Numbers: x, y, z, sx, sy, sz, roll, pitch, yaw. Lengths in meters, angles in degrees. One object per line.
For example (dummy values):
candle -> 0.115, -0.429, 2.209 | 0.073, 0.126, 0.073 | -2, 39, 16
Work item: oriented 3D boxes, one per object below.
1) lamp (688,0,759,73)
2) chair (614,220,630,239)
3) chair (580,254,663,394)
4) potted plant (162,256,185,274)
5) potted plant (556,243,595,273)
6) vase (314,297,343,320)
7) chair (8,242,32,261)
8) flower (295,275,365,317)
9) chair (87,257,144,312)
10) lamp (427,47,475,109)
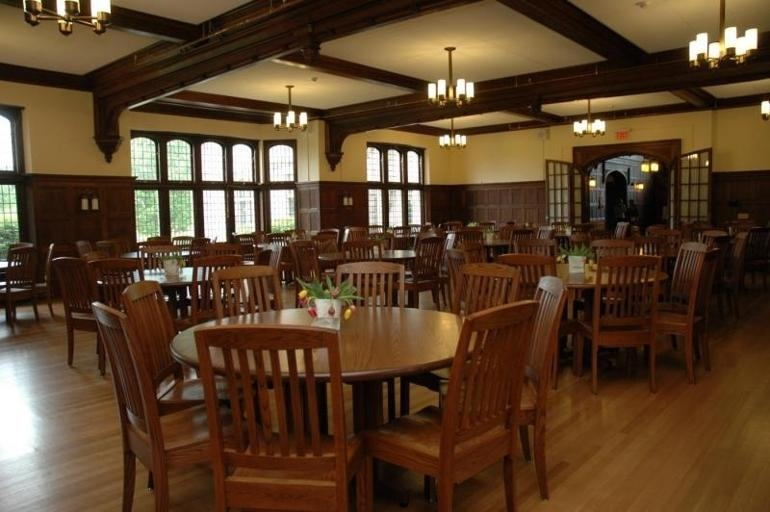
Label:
lamp -> 4.402, -2.915, 7.436 | 0.675, 1.023, 1.848 | 1, 6, 27
chair -> 4.820, -0.506, 11.548 | 0.233, 0.332, 0.887 | 0, 5, 21
chair -> 2.459, 0.646, 5.981 | 0.808, 1.375, 1.155 | 1, 6, 27
potted plant -> -2.573, 0.105, 6.844 | 0.223, 0.172, 0.215 | -3, 6, -41
potted plant -> 2.203, 0.031, 6.468 | 0.461, 0.336, 0.473 | -1, 2, 18
vase -> -0.448, 0.406, 4.308 | 0.175, 0.110, 0.159 | -1, -3, 6
chair -> -5.631, -0.059, 8.682 | 0.290, 0.409, 0.312 | 9, 7, 41
flower -> -0.501, 0.346, 4.437 | 0.425, 0.199, 0.416 | -2, -5, 28
chair -> -2.724, 0.284, 5.640 | 0.485, 0.623, 0.421 | 1, 21, -14
lamp -> 1.066, -3.000, 9.401 | 0.969, 1.091, 0.968 | -1, 0, -2
